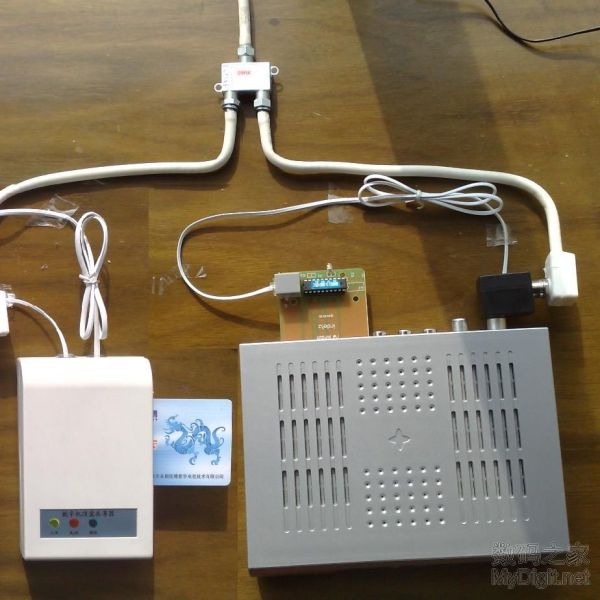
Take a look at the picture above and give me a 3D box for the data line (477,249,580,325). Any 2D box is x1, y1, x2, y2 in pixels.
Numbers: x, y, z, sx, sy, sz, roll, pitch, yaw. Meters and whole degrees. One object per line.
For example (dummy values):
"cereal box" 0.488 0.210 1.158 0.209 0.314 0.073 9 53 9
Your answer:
"data line" 0.343 -0.009 1.503 0.158 0.101 0.057 -8 -15 34
